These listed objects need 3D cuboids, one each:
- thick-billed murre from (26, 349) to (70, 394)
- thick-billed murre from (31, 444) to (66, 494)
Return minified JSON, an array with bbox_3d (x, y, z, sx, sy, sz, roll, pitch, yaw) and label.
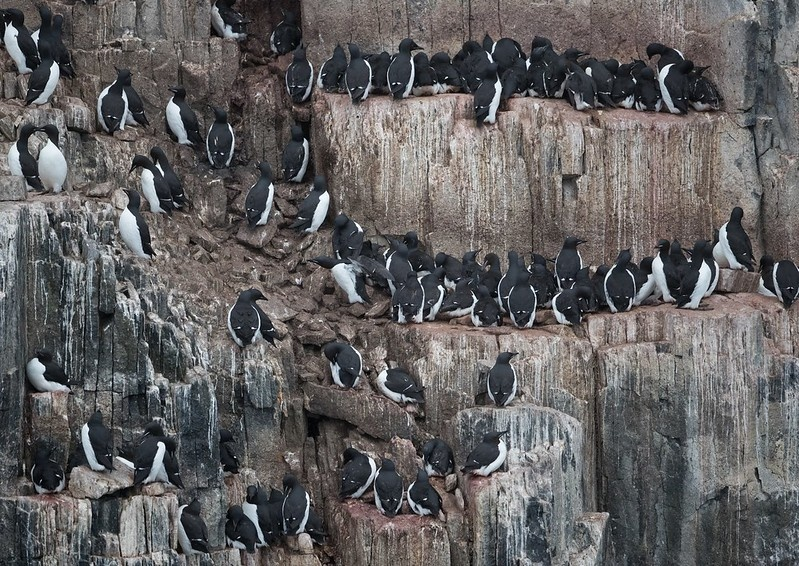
[{"bbox_3d":[-5.247,1.318,26.666,0.684,0.717,0.496,12,0,-23],"label":"thick-billed murre"},{"bbox_3d":[-5.245,2.716,26.176,0.398,0.720,0.500,-14,-42,-11],"label":"thick-billed murre"}]
